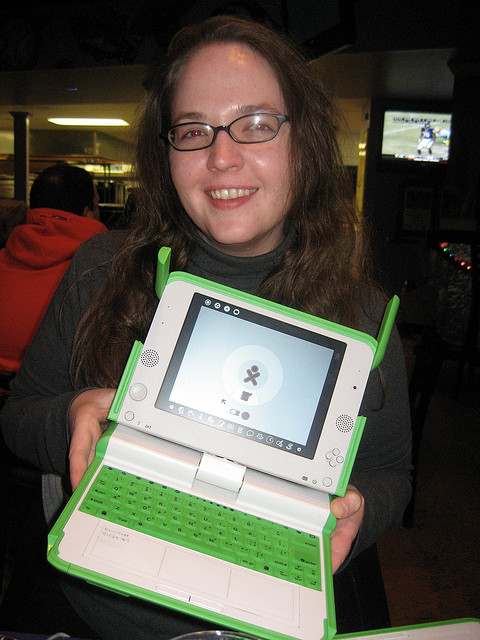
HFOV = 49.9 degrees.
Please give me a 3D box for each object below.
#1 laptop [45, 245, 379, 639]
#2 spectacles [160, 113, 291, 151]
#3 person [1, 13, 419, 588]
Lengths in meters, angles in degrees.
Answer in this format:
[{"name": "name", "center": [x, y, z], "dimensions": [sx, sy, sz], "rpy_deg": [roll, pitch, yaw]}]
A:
[{"name": "laptop", "center": [-0.030, 0.189, 0.730], "dimensions": [0.366, 0.275, 0.432], "rpy_deg": [22, 39, -6]}, {"name": "spectacles", "center": [-0.022, -0.306, 0.841], "dimensions": [0.207, 0.060, 0.084], "rpy_deg": [3, 22, 3]}, {"name": "person", "center": [-0.045, -0.080, 1.107], "dimensions": [0.812, 1.153, 0.310], "rpy_deg": [5, -13, -3]}]
